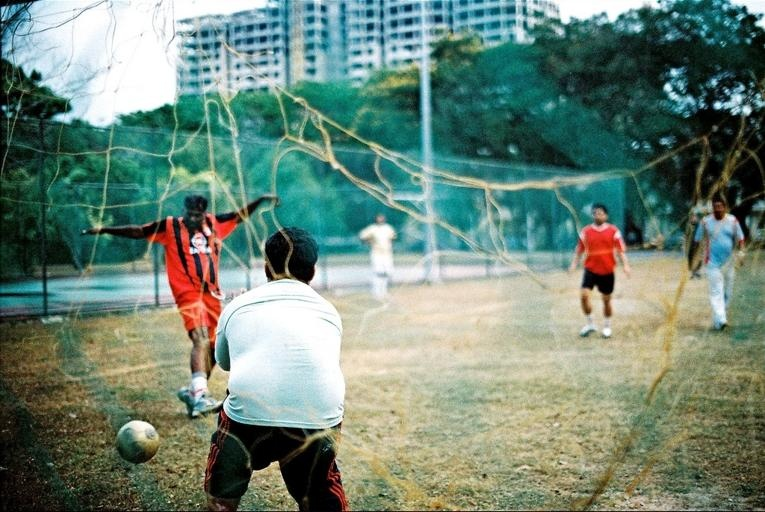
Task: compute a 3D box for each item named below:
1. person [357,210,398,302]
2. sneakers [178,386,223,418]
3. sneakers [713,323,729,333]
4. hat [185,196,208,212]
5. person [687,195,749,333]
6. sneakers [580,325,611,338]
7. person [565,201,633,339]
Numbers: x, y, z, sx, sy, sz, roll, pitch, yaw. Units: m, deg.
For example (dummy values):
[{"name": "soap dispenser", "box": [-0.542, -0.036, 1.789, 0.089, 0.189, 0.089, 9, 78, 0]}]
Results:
[{"name": "person", "box": [-0.054, -0.003, 12.554, 0.519, 1.343, 1.451, -3, 2, 0]}, {"name": "sneakers", "box": [-1.966, 1.601, 8.460, 0.615, 0.310, 0.257, -3, -3, 28]}, {"name": "sneakers", "box": [4.229, 0.891, 9.622, 0.108, 0.135, 0.139, -2, -5, 11]}, {"name": "hat", "box": [-2.052, -0.582, 8.417, 0.235, 0.184, 0.184, -4, 2, -13]}, {"name": "person", "box": [4.094, 0.131, 9.357, 0.543, 1.603, 1.140, -2, 3, 23]}, {"name": "sneakers", "box": [2.778, 0.985, 10.096, 0.445, 0.226, 0.157, 6, -5, 9]}, {"name": "person", "box": [2.834, 0.195, 9.962, 0.682, 1.726, 1.594, -3, 2, 17]}]
